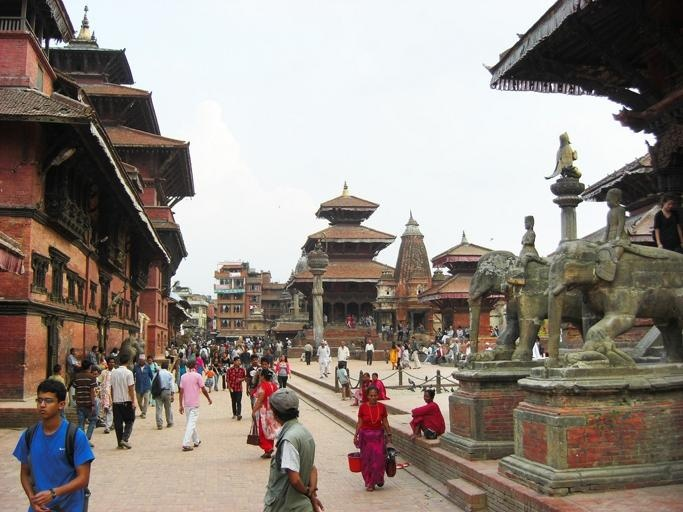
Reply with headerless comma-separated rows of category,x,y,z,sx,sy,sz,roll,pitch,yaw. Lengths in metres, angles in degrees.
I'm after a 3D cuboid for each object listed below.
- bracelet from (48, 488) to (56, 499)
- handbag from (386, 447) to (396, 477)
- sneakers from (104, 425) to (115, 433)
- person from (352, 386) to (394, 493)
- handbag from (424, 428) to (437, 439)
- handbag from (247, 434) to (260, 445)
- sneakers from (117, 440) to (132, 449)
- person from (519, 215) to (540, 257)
bracelet,-2.616,2.145,6.026,0.016,0.066,0.069,-12,-28,-7
handbag,0.730,3.129,10.158,0.120,0.354,0.249,0,-7,9
sneakers,-5.286,3.894,15.107,0.102,0.208,0.314,4,-3,-44
person,0.444,2.727,10.091,0.527,1.557,0.440,-3,-5,0
handbag,1.497,3.027,11.432,0.232,0.207,0.144,-6,-5,20
handbag,-1.588,3.233,11.802,0.191,0.194,0.260,-2,-5,-14
sneakers,-4.192,3.623,12.843,0.125,0.273,0.114,-41,-9,-38
person,2.958,-0.340,10.700,0.261,0.705,1.018,-5,-5,15
